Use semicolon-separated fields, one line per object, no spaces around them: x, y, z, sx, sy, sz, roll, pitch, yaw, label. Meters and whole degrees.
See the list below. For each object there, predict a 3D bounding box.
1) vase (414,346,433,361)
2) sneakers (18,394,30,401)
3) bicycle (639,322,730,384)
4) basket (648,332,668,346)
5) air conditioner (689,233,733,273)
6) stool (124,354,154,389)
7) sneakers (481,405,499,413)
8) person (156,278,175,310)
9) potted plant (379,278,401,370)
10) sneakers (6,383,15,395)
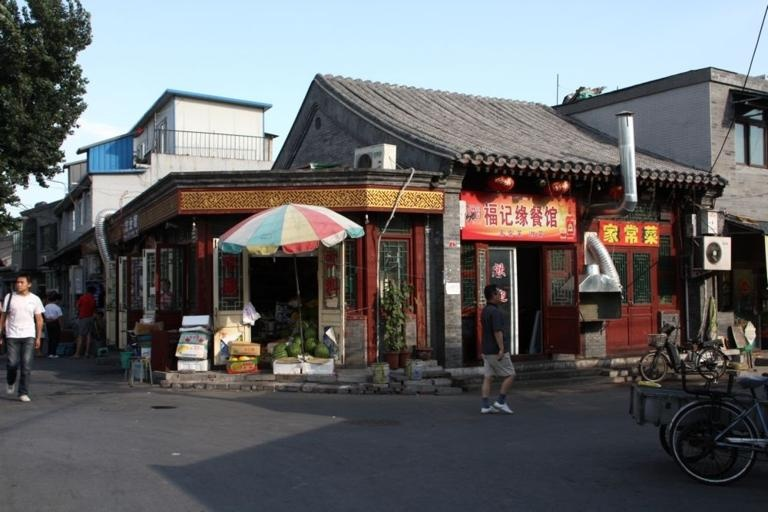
1.028;2.472;23.391;0.537;0.369;0.441;2;-7;-13;vase
-7.875;3.108;20.023;0.096;0.099;0.239;5;-12;-43;sneakers
7.753;2.487;23.455;2.575;1.458;0.810;1;-4;-16;bicycle
7.018;2.135;23.389;0.279;0.260;0.412;-5;-13;28;basket
9.785;-0.059;27.302;1.091;0.933;0.607;2;-4;-24;air conditioner
-6.078;2.820;22.654;0.734;0.928;0.656;9;-15;-38;stool
2.224;3.220;19.290;0.390;0.152;0.141;2;-6;-15;sneakers
-6.006;1.039;24.984;0.198;0.826;0.548;-4;-8;33;person
0.145;1.696;23.165;0.630;2.265;0.384;-5;-9;40;potted plant
-8.490;3.026;20.732;0.142;0.411;0.175;1;5;-10;sneakers
